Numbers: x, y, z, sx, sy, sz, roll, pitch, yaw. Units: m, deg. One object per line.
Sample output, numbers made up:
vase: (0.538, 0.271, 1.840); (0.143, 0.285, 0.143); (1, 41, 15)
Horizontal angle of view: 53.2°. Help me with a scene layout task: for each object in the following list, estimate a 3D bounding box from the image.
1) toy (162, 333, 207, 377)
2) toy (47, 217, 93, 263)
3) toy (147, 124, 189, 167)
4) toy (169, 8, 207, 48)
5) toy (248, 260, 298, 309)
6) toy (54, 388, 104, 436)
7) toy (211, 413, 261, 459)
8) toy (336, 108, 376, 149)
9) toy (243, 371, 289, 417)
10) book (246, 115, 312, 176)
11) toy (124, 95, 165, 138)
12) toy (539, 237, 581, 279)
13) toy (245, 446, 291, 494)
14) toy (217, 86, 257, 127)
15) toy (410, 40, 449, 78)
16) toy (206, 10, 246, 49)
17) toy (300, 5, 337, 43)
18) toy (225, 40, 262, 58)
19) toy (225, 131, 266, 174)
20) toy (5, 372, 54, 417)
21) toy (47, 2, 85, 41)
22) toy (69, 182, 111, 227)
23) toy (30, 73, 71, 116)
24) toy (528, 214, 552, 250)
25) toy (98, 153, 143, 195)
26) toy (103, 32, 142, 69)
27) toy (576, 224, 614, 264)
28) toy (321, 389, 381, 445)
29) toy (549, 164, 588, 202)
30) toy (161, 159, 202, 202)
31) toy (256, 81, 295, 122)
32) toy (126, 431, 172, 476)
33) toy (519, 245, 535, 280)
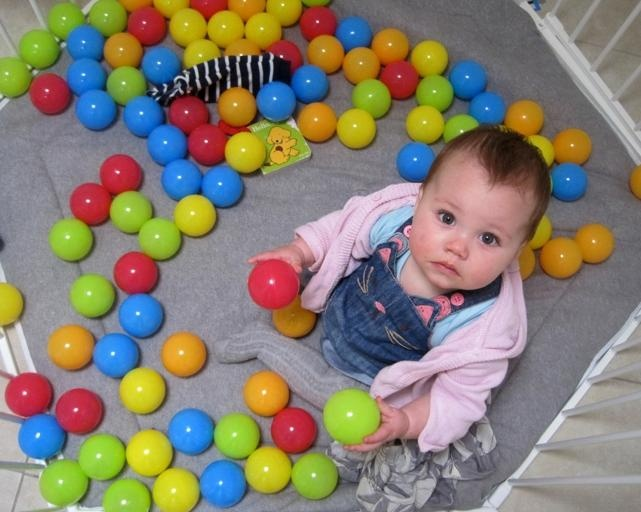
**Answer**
toy: (-0.499, 0.352, 2.332); (0.155, 0.103, 0.130); (-8, 52, -13)
toy: (-0.953, -0.067, 2.440); (0.149, 0.107, 0.114); (-21, 56, -21)
toy: (-0.612, -0.443, 2.646); (0.142, 0.175, 0.161); (-13, 84, -2)
toy: (-0.585, -1.017, 2.874); (0.145, 0.194, 0.157); (3, 13, 7)
toy: (-0.131, 0.104, 2.051); (0.139, 0.171, 0.156); (-12, 80, -1)
toy: (-0.844, 0.536, 2.232); (0.146, 0.100, 0.128); (-32, 61, -28)
toy: (-0.295, 0.623, 2.226); (0.143, 0.184, 0.154); (8, 38, -17)
toy: (0.154, -0.547, 2.796); (0.154, 0.194, 0.153); (-23, 27, -24)
toy: (-0.193, 0.488, 2.273); (0.144, 0.186, 0.156); (12, 41, 10)
book: (-0.165, -0.475, 2.731); (0.218, 0.063, 0.251); (-18, 75, -11)
toy: (-0.729, -0.582, 2.723); (0.146, 0.150, 0.158); (28, 92, -8)
toy: (0.956, 0.029, 2.574); (0.141, 0.145, 0.163); (13, 85, 10)
toy: (-0.176, 0.728, 2.183); (0.140, 0.186, 0.150); (6, 15, 15)
toy: (-0.353, -0.623, 2.719); (0.157, 0.155, 0.109); (-3, 50, -8)
toy: (0.493, -0.883, 2.947); (0.150, 0.153, 0.195); (-5, 90, -25)
toy: (-0.416, -1.021, 2.871); (0.137, 0.173, 0.158); (2, 80, -4)
toy: (-0.011, -1.061, 2.887); (0.143, 0.116, 0.158); (22, 77, 2)
toy: (-0.339, -0.912, 2.791); (0.105, 0.104, 0.096); (6, 1, 35)
toy: (-0.288, -0.427, 2.641); (0.145, 0.195, 0.157); (4, 8, 10)
toy: (-1.026, 0.485, 2.248); (0.129, 0.114, 0.130); (12, 50, 4)
toy: (-1.122, -1.029, 2.887); (0.143, 0.162, 0.180); (-13, 19, -7)
toy: (-0.901, -0.209, 2.512); (0.146, 0.109, 0.109); (-20, 55, -21)
toy: (-1.140, -0.678, 2.693); (0.153, 0.139, 0.118); (-4, 51, -9)
toy: (0.791, -0.085, 2.304); (0.093, 0.127, 0.101); (6, 14, 9)
toy: (-0.787, -0.340, 2.567); (0.173, 0.164, 0.150); (-25, 22, -19)
toy: (-0.839, -0.885, 2.784); (0.146, 0.165, 0.155); (-10, 51, -4)
toy: (1.108, -0.047, 2.638); (0.141, 0.154, 0.148); (25, 12, 12)
toy: (0.091, 0.457, 1.878); (0.142, 0.180, 0.159); (4, 59, 2)
toy: (1.021, -0.300, 2.633); (0.126, 0.165, 0.141); (-7, 41, 5)
toy: (-0.560, -0.299, 2.595); (0.160, 0.151, 0.132); (-11, 52, -15)
toy: (-0.162, -0.643, 2.748); (0.146, 0.160, 0.177); (-27, 8, 7)
toy: (-0.594, 0.688, 2.225); (0.152, 0.137, 0.129); (-2, 50, -8)
toy: (0.783, 0.024, 2.426); (0.041, 0.130, 0.133); (-1, 55, 15)
